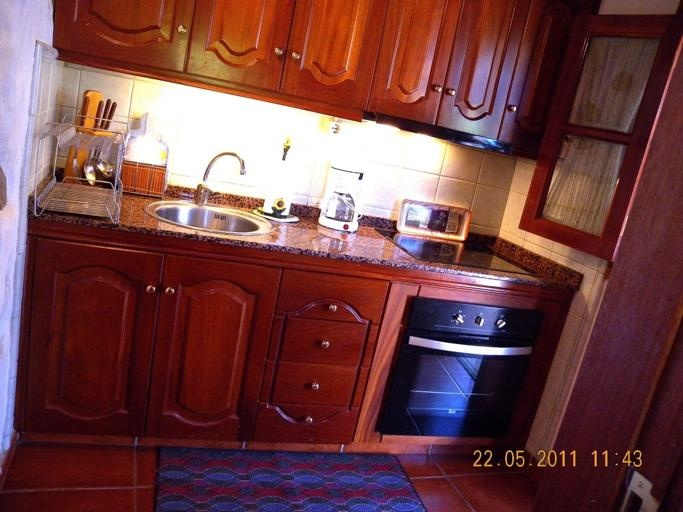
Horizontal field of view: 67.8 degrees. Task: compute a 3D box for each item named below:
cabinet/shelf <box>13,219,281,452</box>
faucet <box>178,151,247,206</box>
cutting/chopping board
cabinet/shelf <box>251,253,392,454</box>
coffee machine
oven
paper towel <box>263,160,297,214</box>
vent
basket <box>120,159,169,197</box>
[{"bbox_3d":[-0.737,0.309,2.429,1.418,1.290,0.749,1,10,-20],"label":"cabinet/shelf"},{"bbox_3d":[-0.616,-0.373,2.449,0.276,0.279,0.270,4,14,-18],"label":"faucet"},{"bbox_3d":[-1.092,-0.499,2.168,0.137,0.407,0.404,2,15,-27],"label":"cutting/chopping board"},{"bbox_3d":[-0.154,0.402,2.538,0.577,0.813,0.580,-2,17,-21],"label":"cabinet/shelf"},{"bbox_3d":[0.003,-0.293,2.613,0.197,0.318,0.119,8,13,-2],"label":"coffee machine"},{"bbox_3d":[0.539,0.517,2.632,0.698,0.733,0.472,6,15,-12],"label":"oven"},{"bbox_3d":[-0.309,-0.339,2.575,0.153,0.271,0.170,-1,19,-11],"label":"paper towel"},{"bbox_3d":[0.476,-0.594,2.457,0.868,0.065,0.132,9,2,-12],"label":"vent"},{"bbox_3d":[-0.919,-0.358,2.388,0.190,0.156,0.045,4,13,-18],"label":"basket"}]
